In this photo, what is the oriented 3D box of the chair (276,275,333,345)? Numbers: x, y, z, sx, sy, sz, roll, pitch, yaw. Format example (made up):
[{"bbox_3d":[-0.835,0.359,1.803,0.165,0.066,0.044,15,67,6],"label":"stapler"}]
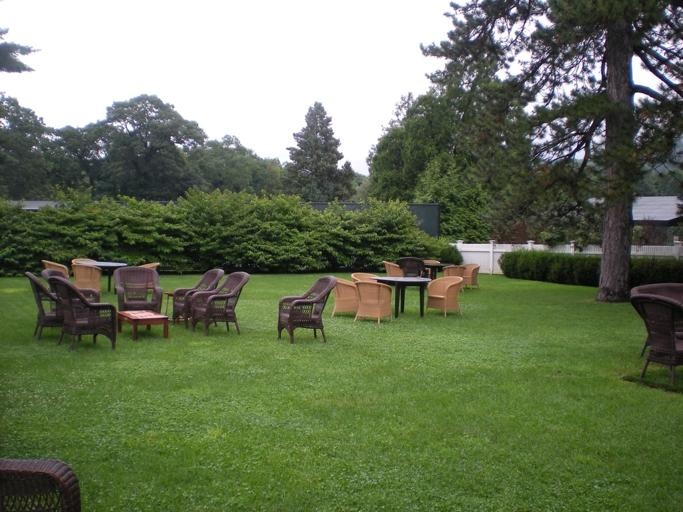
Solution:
[{"bbox_3d":[-0.628,0.934,9.706,0.881,1.223,0.944,4,-2,-13],"label":"chair"}]
